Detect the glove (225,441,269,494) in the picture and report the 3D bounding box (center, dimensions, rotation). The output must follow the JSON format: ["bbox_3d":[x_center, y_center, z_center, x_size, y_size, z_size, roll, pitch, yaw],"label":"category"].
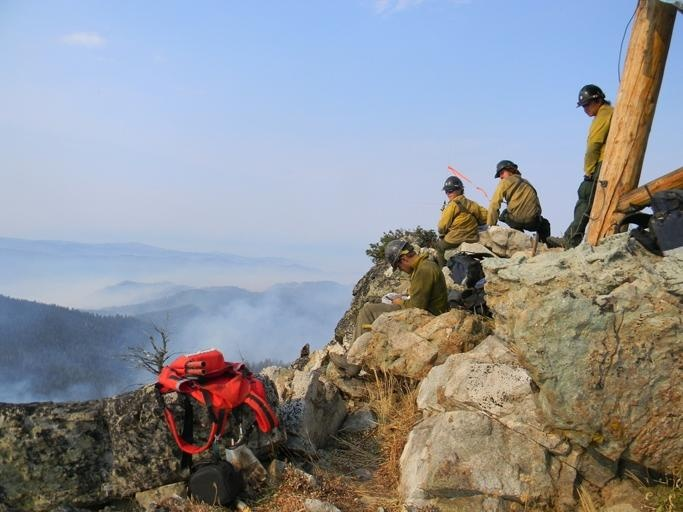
[{"bbox_3d":[-1.292,2.882,8.435,0.366,0.591,0.362,-27,14,17],"label":"glove"}]

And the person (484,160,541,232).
[{"bbox_3d":[3.885,-1.403,14.441,1.110,1.641,0.610,-4,6,22],"label":"person"}]

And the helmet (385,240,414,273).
[{"bbox_3d":[0.954,-0.097,11.404,0.465,0.583,0.419,30,5,-13],"label":"helmet"}]
